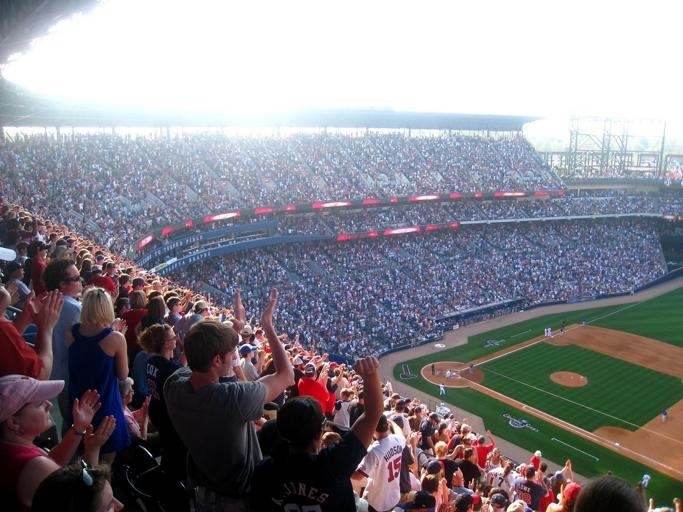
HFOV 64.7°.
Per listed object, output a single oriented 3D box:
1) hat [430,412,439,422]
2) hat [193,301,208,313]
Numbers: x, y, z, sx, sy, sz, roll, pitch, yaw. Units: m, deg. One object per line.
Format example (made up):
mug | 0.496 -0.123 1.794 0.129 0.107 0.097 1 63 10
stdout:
hat | 2.028 3.498 11.657 0.159 0.204 0.195 1 -17 -34
hat | -2.409 0.885 9.224 0.132 0.121 0.203 26 -6 14
